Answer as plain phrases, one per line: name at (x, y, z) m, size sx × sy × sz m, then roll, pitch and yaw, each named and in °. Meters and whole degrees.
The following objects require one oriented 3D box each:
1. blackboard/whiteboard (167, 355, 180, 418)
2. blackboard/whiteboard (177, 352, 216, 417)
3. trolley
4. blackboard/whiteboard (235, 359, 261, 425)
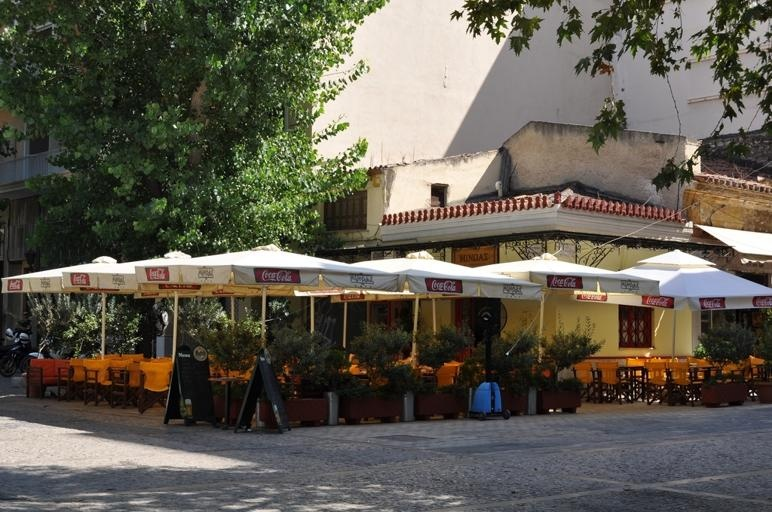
blackboard/whiteboard at (-4.653, 2.896, 21.162) m, size 0.401 × 1.256 × 1.225 m, roll 5°, pitch -9°, yaw -12°
blackboard/whiteboard at (-4.097, 2.808, 20.852) m, size 0.716 × 1.446 × 0.897 m, roll 3°, pitch -14°, yaw -17°
trolley at (2.442, 2.403, 22.738) m, size 0.877 × 2.769 × 1.055 m, roll 3°, pitch 7°, yaw 7°
blackboard/whiteboard at (-2.918, 2.920, 20.511) m, size 0.456 × 1.367 × 1.341 m, roll 12°, pitch -4°, yaw 1°
